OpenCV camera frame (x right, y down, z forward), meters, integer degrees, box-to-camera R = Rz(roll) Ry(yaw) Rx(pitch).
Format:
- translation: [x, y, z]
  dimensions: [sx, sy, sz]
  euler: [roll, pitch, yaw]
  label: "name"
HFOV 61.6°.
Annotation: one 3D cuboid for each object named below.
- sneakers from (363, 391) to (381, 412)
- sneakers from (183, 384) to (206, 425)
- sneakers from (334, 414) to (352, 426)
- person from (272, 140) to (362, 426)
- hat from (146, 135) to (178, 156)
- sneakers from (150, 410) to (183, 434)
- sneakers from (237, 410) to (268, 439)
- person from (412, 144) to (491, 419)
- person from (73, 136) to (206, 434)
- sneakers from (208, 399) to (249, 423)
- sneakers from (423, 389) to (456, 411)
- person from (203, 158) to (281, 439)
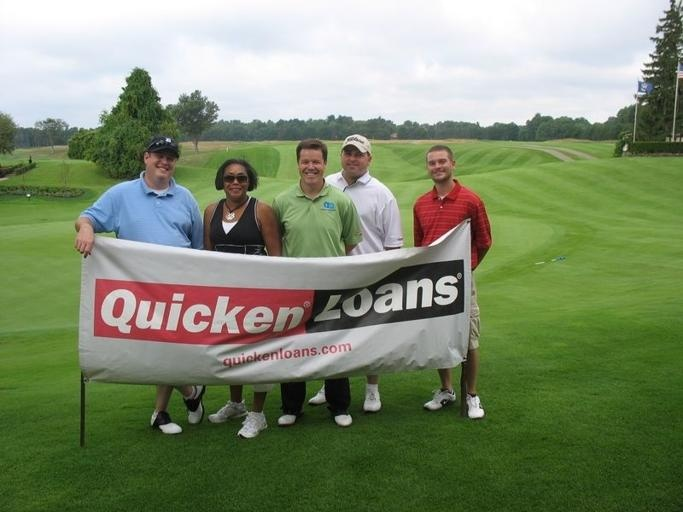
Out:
- translation: [0.345, 1.568, 6.233]
  dimensions: [0.196, 0.175, 0.262]
  euler: [0, 11, 4]
  label: "sneakers"
- translation: [-1.516, 1.566, 6.080]
  dimensions: [0.190, 0.519, 0.238]
  euler: [9, 14, 35]
  label: "sneakers"
- translation: [0.028, 1.683, 5.879]
  dimensions: [0.148, 0.086, 0.197]
  euler: [-3, 11, -10]
  label: "sneakers"
- translation: [-0.255, 0.269, 6.138]
  dimensions: [0.974, 2.977, 1.177]
  euler: [-1, 11, 1]
  label: "person"
- translation: [-1.864, -1.139, 5.993]
  dimensions: [0.330, 0.216, 0.272]
  euler: [-4, 11, -17]
  label: "hat"
- translation: [-1.754, 1.669, 5.762]
  dimensions: [0.149, 0.147, 0.399]
  euler: [-4, 3, -44]
  label: "sneakers"
- translation: [-0.880, 1.678, 5.782]
  dimensions: [0.219, 0.199, 0.378]
  euler: [2, 11, 16]
  label: "sneakers"
- translation: [1.210, 0.193, 6.382]
  dimensions: [0.846, 2.795, 1.328]
  euler: [2, 12, 13]
  label: "person"
- translation: [-2.041, 0.268, 6.098]
  dimensions: [1.198, 3.022, 1.178]
  euler: [-4, 12, -14]
  label: "person"
- translation: [-1.197, 1.669, 6.251]
  dimensions: [0.446, 0.200, 0.173]
  euler: [-4, 4, -30]
  label: "sneakers"
- translation: [1.098, 1.566, 6.255]
  dimensions: [0.398, 0.156, 0.144]
  euler: [1, -6, -40]
  label: "sneakers"
- translation: [-1.030, 0.397, 6.034]
  dimensions: [0.853, 2.776, 1.216]
  euler: [-6, 12, -23]
  label: "person"
